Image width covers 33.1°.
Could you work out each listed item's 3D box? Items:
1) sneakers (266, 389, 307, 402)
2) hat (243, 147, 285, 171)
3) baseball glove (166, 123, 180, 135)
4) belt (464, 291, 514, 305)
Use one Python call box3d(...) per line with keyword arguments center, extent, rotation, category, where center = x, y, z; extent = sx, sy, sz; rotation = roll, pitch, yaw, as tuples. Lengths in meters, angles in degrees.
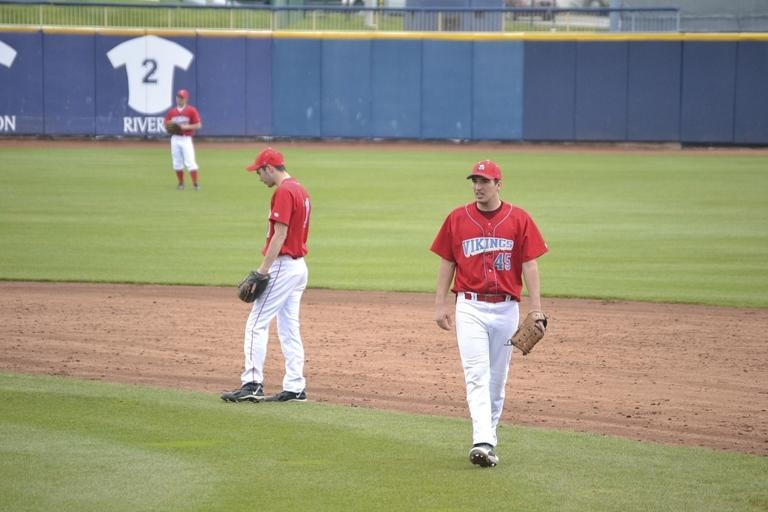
box3d(center=(-1.638, 2.346, 21.952), extent=(0.710, 0.206, 0.217), rotation=(2, -1, -7), category="sneakers")
box3d(center=(-1.957, -1.648, 22.060), extent=(0.907, 0.404, 0.504), rotation=(1, 9, 1), category="hat")
box3d(center=(-5.218, -3.187, 32.401), extent=(0.347, 0.280, 0.260), rotation=(-1, 7, -9), category="baseball glove")
box3d(center=(1.657, 0.644, 20.552), extent=(0.779, 0.165, 0.046), rotation=(0, 7, 2), category="belt")
